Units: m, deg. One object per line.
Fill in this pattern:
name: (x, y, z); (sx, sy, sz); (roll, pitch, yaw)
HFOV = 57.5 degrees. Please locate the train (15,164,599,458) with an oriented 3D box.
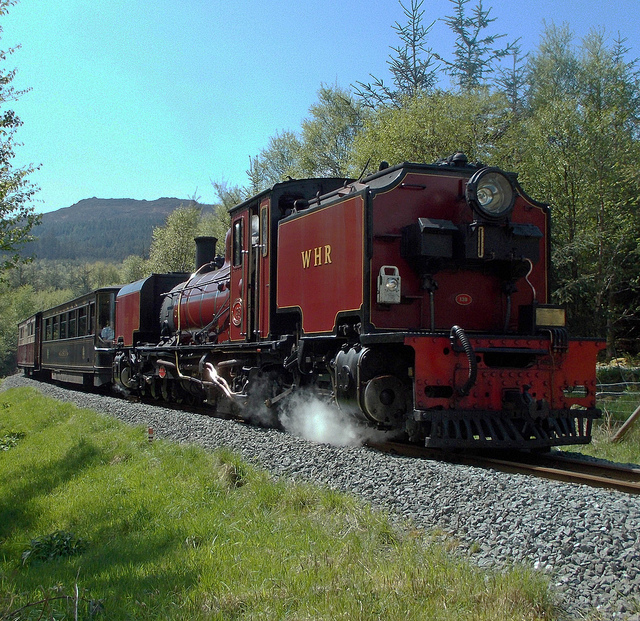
train: (-1.301, -0.074, 12.128); (2.412, 4.830, 13.776); (3, -7, -32)
